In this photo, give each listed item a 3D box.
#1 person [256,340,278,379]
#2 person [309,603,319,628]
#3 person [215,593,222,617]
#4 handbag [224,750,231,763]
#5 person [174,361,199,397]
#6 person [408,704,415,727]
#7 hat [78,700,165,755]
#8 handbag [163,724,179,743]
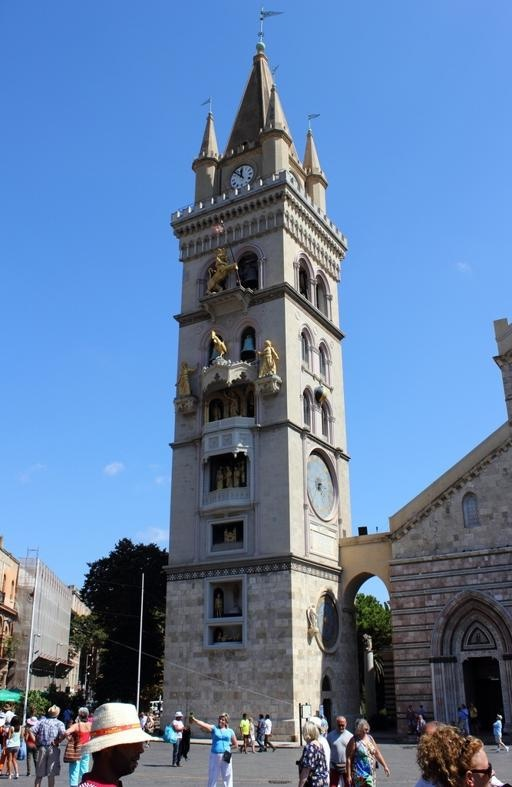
[{"bbox_3d":[0.537,-1.742,36.613,1.297,2.320,0.989,-8,-23,22],"label":"person"},{"bbox_3d":[2.837,11.280,33.708,0.310,1.295,1.141,-8,-23,21],"label":"person"},{"bbox_3d":[-1.939,10.763,34.677,0.451,1.304,0.345,2,-21,-5],"label":"person"},{"bbox_3d":[-0.578,7.110,13.194,0.081,0.209,0.140,-14,-25,32],"label":"handbag"},{"bbox_3d":[-4.089,-0.739,39.528,1.127,2.452,0.800,-16,-26,35],"label":"person"},{"bbox_3d":[7.328,15.307,31.779,0.403,1.143,0.447,-4,-22,11],"label":"person"},{"bbox_3d":[-0.718,1.682,3.490,0.324,0.193,0.344,-13,-20,1],"label":"hat"},{"bbox_3d":[-2.608,10.588,20.988,0.459,0.568,0.915,3,-22,-6],"label":"handbag"}]
